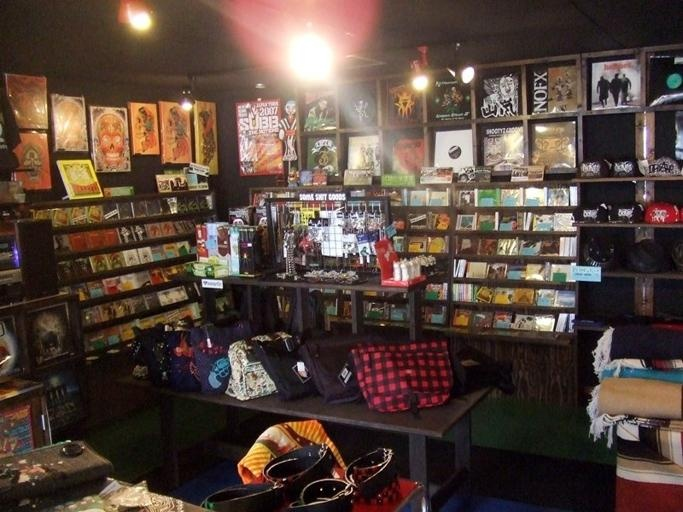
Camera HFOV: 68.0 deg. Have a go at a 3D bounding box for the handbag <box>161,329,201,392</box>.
[{"bbox_3d":[-1.275,0.814,4.003,0.326,0.466,0.132,1,-7,-7],"label":"handbag"}]

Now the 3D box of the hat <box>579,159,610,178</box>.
[{"bbox_3d":[2.626,-0.908,5.234,0.207,0.130,0.216,4,13,30],"label":"hat"}]

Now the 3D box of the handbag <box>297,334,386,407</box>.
[{"bbox_3d":[-0.069,0.899,3.849,0.477,0.524,0.180,0,-17,-1],"label":"handbag"}]

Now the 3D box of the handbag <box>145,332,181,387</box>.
[{"bbox_3d":[-1.453,0.807,4.041,0.355,0.388,0.119,4,-1,-9],"label":"handbag"}]

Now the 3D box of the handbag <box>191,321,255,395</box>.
[{"bbox_3d":[-0.994,0.770,3.853,0.444,0.485,0.151,1,-6,-8],"label":"handbag"}]

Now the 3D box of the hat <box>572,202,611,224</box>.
[{"bbox_3d":[2.576,-0.432,5.207,0.332,0.186,0.104,3,11,21],"label":"hat"}]

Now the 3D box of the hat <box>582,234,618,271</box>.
[{"bbox_3d":[2.686,-0.031,5.263,0.330,0.326,0.213,5,12,29],"label":"hat"}]

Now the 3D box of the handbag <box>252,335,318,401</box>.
[{"bbox_3d":[-0.435,0.807,3.780,0.431,0.458,0.147,-7,-30,-21],"label":"handbag"}]

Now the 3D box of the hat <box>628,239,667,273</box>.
[{"bbox_3d":[3.100,0.006,5.108,0.275,0.304,0.249,-5,11,-20],"label":"hat"}]

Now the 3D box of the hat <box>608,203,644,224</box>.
[{"bbox_3d":[2.866,-0.420,5.074,0.190,0.172,0.277,-2,-1,9],"label":"hat"}]

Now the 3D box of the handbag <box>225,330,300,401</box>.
[{"bbox_3d":[-0.581,0.844,4.023,0.352,0.438,0.572,4,6,39],"label":"handbag"}]

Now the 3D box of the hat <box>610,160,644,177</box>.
[{"bbox_3d":[2.898,-0.882,5.101,0.290,0.162,0.173,2,11,17],"label":"hat"}]
